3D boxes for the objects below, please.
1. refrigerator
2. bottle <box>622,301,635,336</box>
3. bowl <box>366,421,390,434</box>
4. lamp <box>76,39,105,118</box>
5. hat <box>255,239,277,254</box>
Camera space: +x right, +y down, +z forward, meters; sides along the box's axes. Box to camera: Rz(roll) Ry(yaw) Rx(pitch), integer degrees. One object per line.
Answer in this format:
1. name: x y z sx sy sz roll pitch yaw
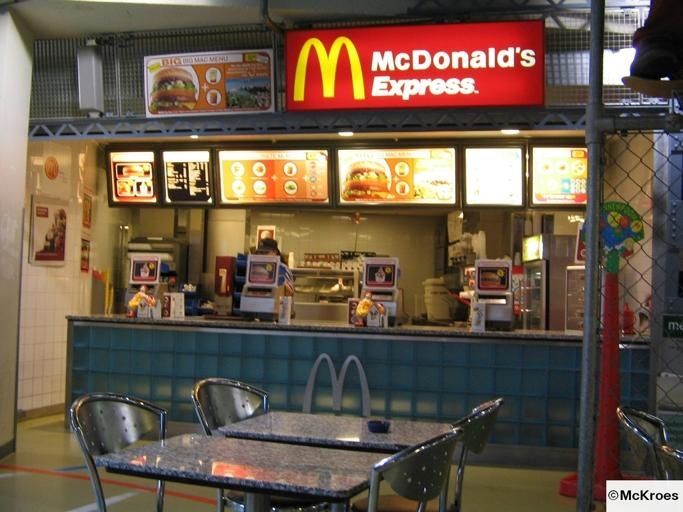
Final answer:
1. refrigerator: 2.808 0.526 9.088 0.489 1.521 0.813 -2 3 -2
2. bottle: 3.111 0.665 7.277 0.135 0.329 0.376 0 1 24
3. bowl: 0.237 1.070 4.259 0.142 0.070 0.120 0 1 1
4. lamp: -2.845 -1.983 7.609 0.247 0.810 0.147 0 0 4
5. hat: -1.088 -0.152 9.941 0.199 0.289 0.286 -1 -5 -20
